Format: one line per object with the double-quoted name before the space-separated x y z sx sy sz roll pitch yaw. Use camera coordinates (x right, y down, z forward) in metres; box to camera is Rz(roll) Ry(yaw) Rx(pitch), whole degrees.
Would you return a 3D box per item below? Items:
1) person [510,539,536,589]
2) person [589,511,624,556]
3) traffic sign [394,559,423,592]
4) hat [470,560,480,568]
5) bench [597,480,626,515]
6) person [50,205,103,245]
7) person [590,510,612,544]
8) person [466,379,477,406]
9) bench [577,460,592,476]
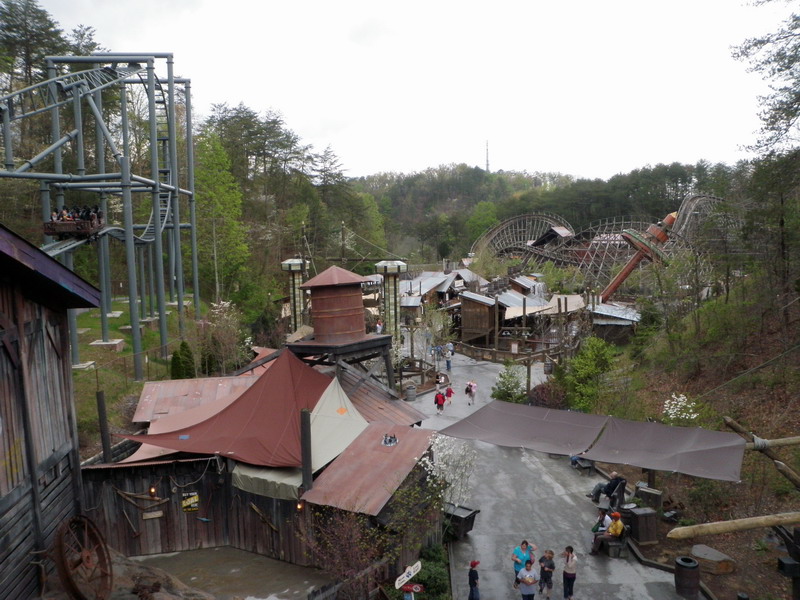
"person" 3.843 8.200 22.240 0.712 1.691 0.482 1 13 -10
"person" 6.997 7.787 24.103 0.974 1.588 0.624 8 15 -9
"traffic sign" 0.297 7.549 19.663 0.475 0.727 0.869 1 5 23
"hat" 2.242 7.884 21.258 0.272 0.127 0.430 -15 -6 -4
"bench" 7.801 7.088 26.166 0.858 1.330 2.435 0 4 13
"person" -14.727 -3.441 32.941 1.459 1.041 2.426 -1 2 -8
"person" 6.923 7.762 24.443 0.525 0.463 0.969 -15 41 40
"person" 3.912 4.988 38.884 0.402 1.213 1.266 0 4 9
"bench" 7.778 6.916 29.733 0.567 0.475 0.393 -1 4 6
